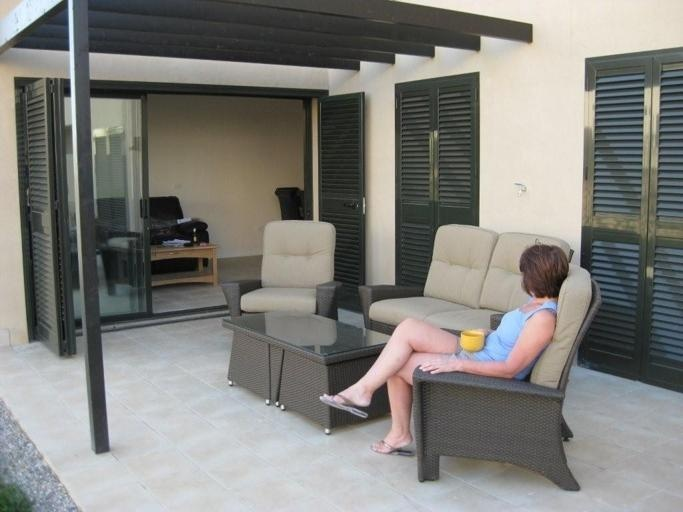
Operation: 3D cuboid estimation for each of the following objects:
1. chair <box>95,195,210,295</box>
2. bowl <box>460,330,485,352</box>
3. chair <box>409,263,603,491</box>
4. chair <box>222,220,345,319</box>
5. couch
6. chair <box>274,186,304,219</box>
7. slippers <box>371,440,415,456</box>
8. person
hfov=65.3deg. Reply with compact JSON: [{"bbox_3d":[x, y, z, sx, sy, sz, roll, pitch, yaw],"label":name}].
[{"bbox_3d":[-2.443,-0.166,7.504,1.419,1.136,1.368,-2,2,-38],"label":"chair"},{"bbox_3d":[0.739,0.474,2.995,0.132,0.089,0.118,-1,-2,-8],"label":"bowl"},{"bbox_3d":[0.923,0.751,3.086,1.015,0.865,0.819,-1,-8,2],"label":"chair"},{"bbox_3d":[-0.541,0.364,5.507,1.157,1.345,0.880,1,11,9],"label":"chair"},{"bbox_3d":[1.067,0.303,4.562,1.038,0.953,1.780,-8,8,-29],"label":"couch"},{"bbox_3d":[-0.947,-0.950,9.672,0.612,0.569,0.282,4,11,29],"label":"chair"},{"bbox_3d":[0.318,1.128,3.215,0.239,0.052,0.098,4,4,18],"label":"slippers"},{"bbox_3d":[0.579,0.565,3.065,1.444,1.261,0.543,-1,6,11],"label":"person"}]
